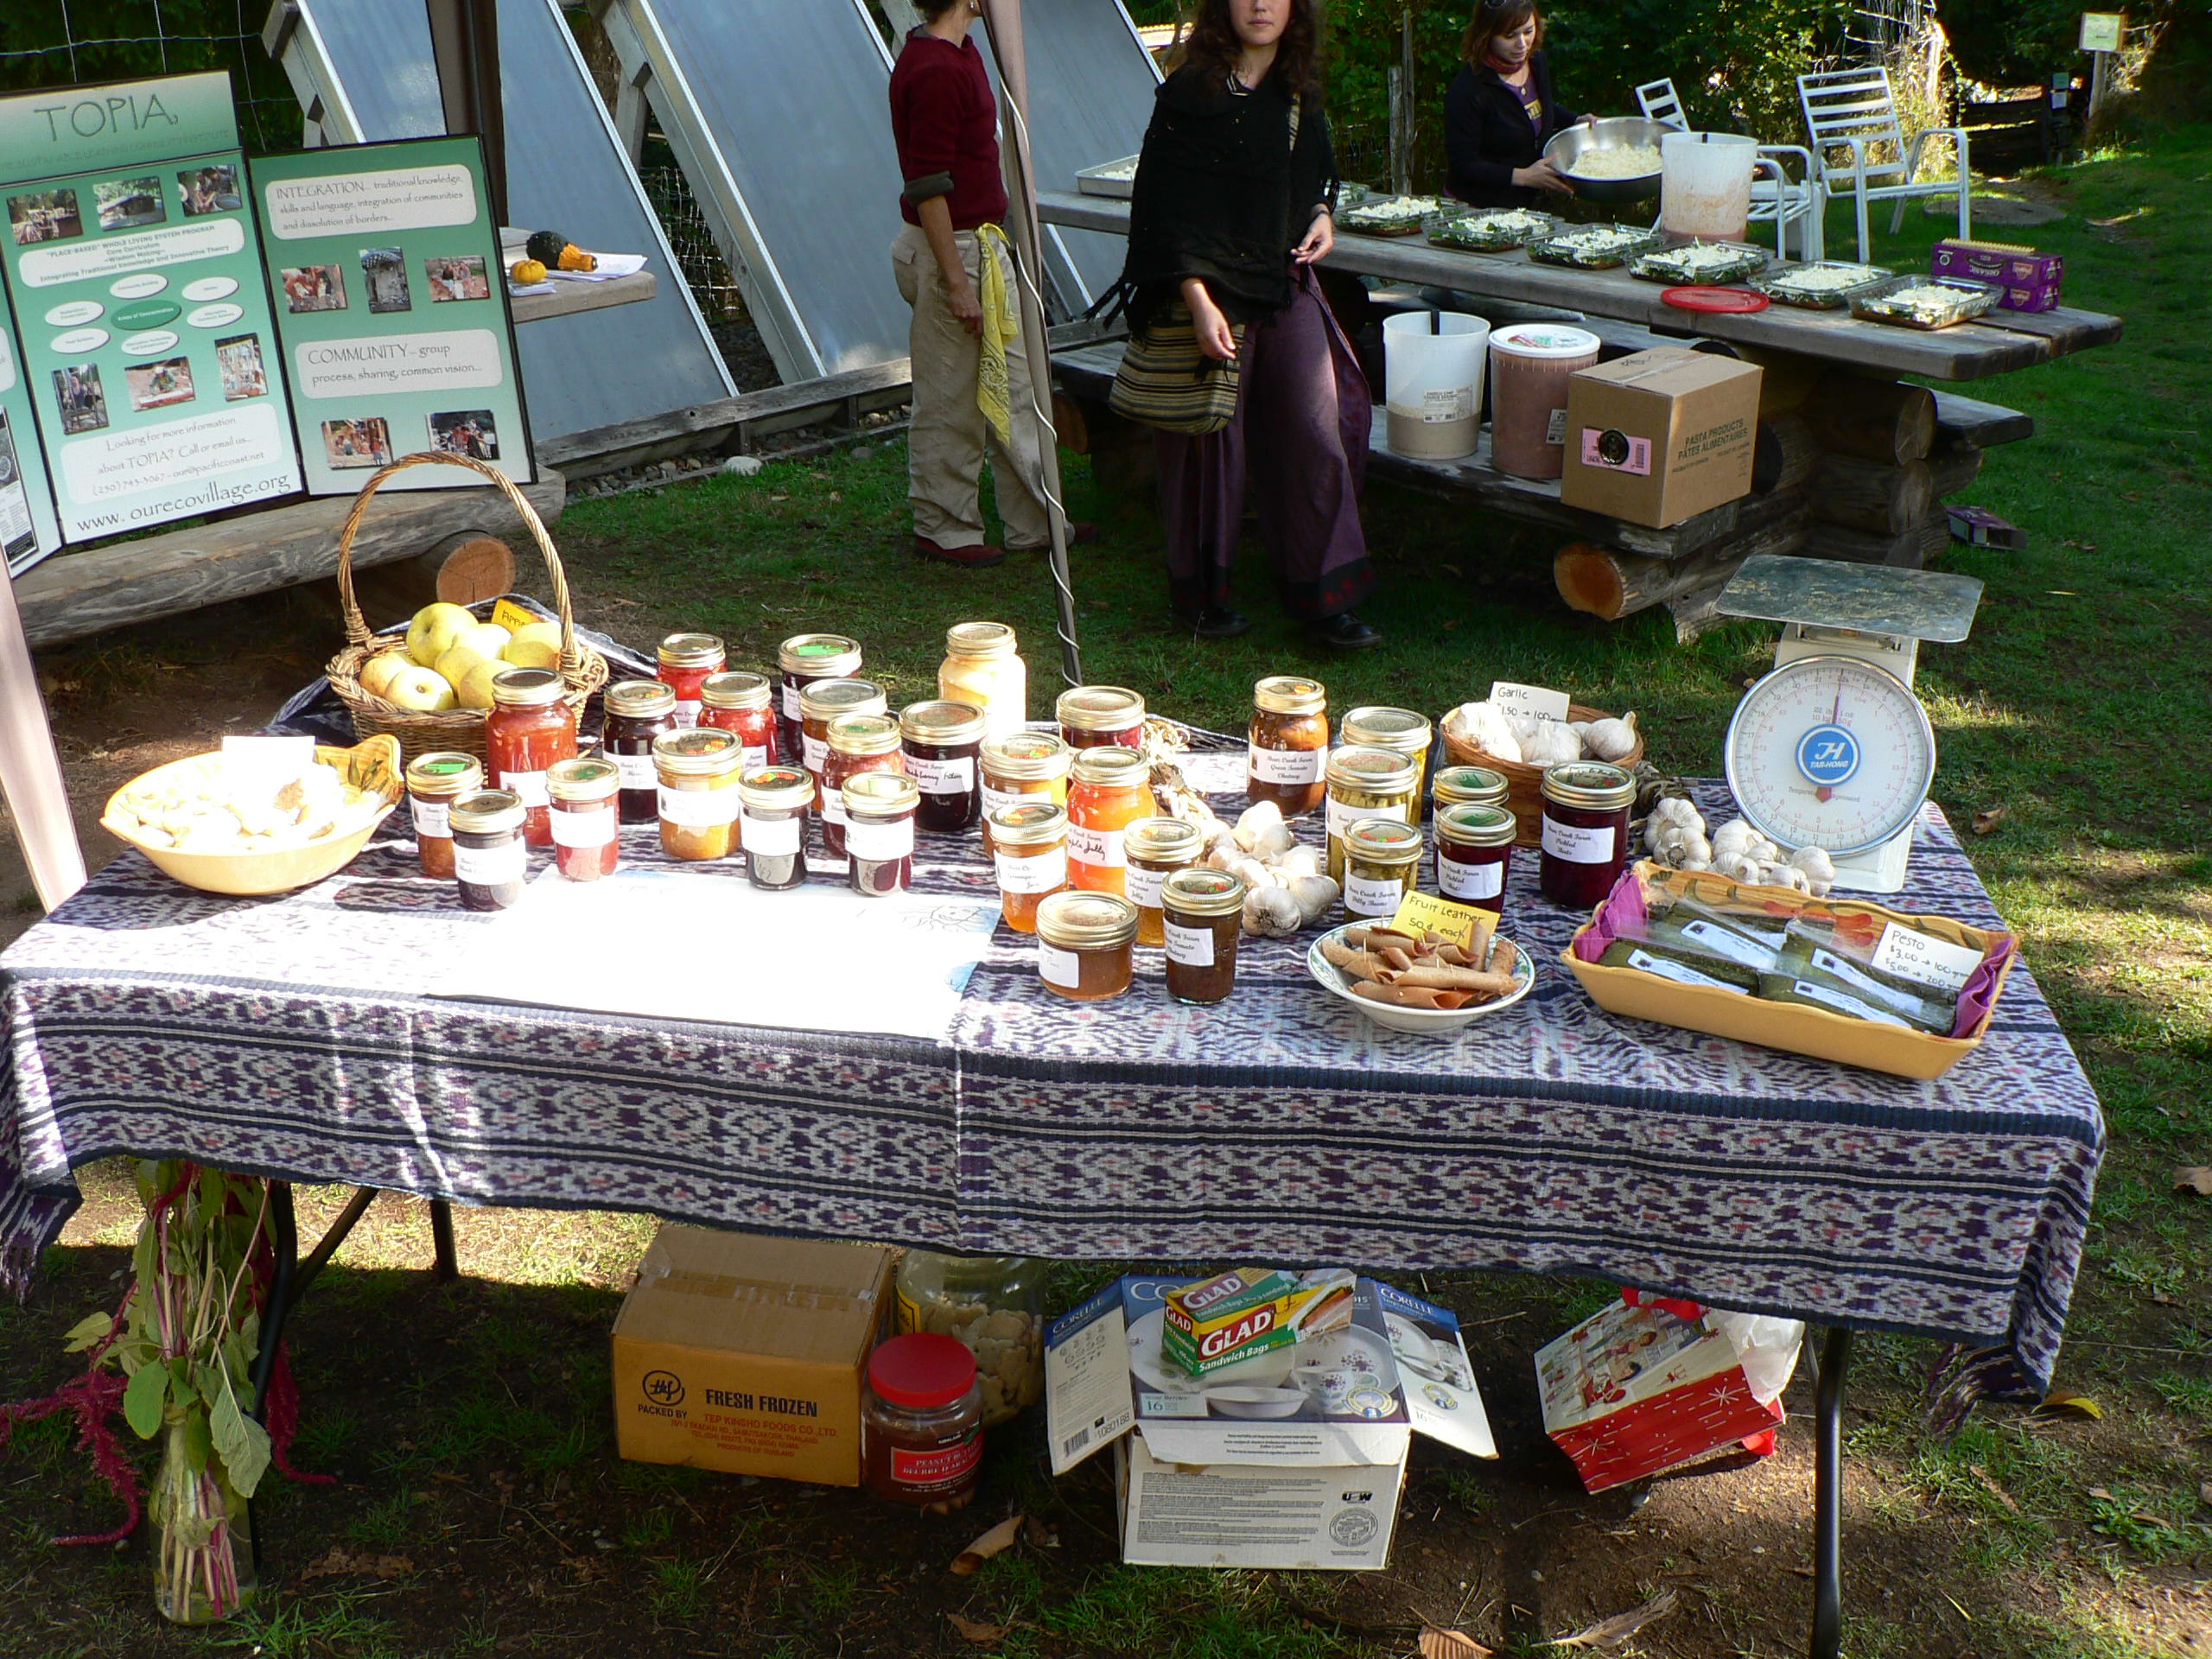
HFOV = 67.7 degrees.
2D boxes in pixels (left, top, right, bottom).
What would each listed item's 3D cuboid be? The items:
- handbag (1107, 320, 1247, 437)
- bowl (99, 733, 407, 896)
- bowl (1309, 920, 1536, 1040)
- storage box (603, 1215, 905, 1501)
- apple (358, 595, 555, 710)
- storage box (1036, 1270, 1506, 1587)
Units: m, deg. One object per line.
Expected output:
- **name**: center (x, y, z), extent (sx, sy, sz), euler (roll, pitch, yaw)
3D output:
- **handbag**: center (0.237, -1.700, 6.273), extent (0.519, 0.424, 0.276), euler (5, 32, 14)
- **bowl**: center (-1.589, 0.055, 2.978), extent (0.352, 0.088, 0.402), euler (9, 11, 32)
- **bowl**: center (0.506, 0.247, 2.684), extent (0.359, 0.117, 0.243), euler (3, 26, 11)
- **storage box**: center (-0.683, 1.034, 3.327), extent (0.725, 0.311, 0.567), euler (3, 24, 5)
- **apple**: center (-1.304, -0.365, 3.405), extent (0.358, 0.114, 0.337), euler (-17, 25, -33)
- **storage box**: center (0.282, 1.129, 3.218), extent (1.012, 0.297, 0.581), euler (0, 26, 2)
